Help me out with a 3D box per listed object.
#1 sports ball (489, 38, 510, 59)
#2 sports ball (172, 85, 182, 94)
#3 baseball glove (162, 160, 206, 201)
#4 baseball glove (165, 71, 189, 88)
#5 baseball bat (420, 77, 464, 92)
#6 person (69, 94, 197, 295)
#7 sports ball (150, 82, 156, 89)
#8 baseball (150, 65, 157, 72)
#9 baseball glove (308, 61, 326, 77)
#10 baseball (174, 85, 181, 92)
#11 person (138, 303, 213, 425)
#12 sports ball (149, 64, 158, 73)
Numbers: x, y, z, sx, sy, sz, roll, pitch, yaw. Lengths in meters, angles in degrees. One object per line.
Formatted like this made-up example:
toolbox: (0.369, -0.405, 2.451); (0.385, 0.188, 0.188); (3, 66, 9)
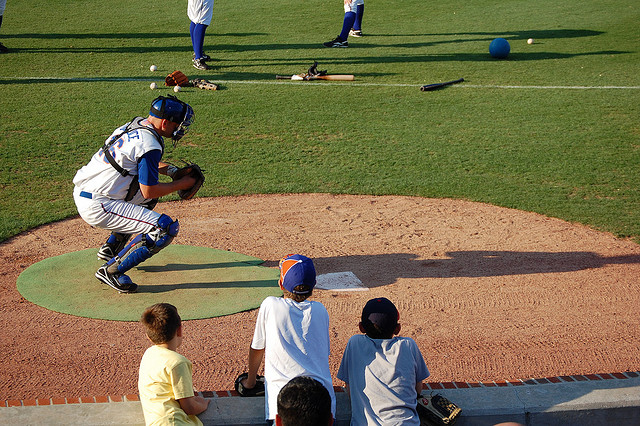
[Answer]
sports ball: (4.538, -4.157, 20.039); (0.502, 0.495, 0.477); (7, 30, -4)
sports ball: (-3.156, -2.734, 17.672); (0.233, 0.179, 0.196); (10, -1, 31)
baseball glove: (-1.980, -0.477, 12.014); (0.434, 0.548, 0.247); (-1, 23, -10)
baseball glove: (-3.193, -3.004, 17.826); (0.474, 0.333, 0.215); (-13, 29, -11)
baseball bat: (2.811, -2.929, 18.244); (1.427, 0.168, 0.191); (-12, -4, -34)
person: (-2.664, -0.263, 11.517); (1.671, 2.734, 0.978); (-4, 23, -16)
sports ball: (-3.695, -2.823, 17.699); (0.147, 0.132, 0.133); (9, -23, 2)
baseball: (-3.953, -3.434, 18.947); (0.140, 0.113, 0.167); (-19, 14, 3)
baseball glove: (-0.066, -3.386, 18.667); (0.386, 0.378, 0.423); (-11, 25, -30)
baseball: (-3.143, -2.750, 17.697); (0.158, 0.142, 0.173); (5, 3, 11)
person: (-1.797, 1.879, 9.599); (0.746, 1.354, 0.831); (-7, 24, -21)
sports ball: (-3.915, -3.451, 18.964); (0.187, 0.177, 0.209); (8, 0, -12)
